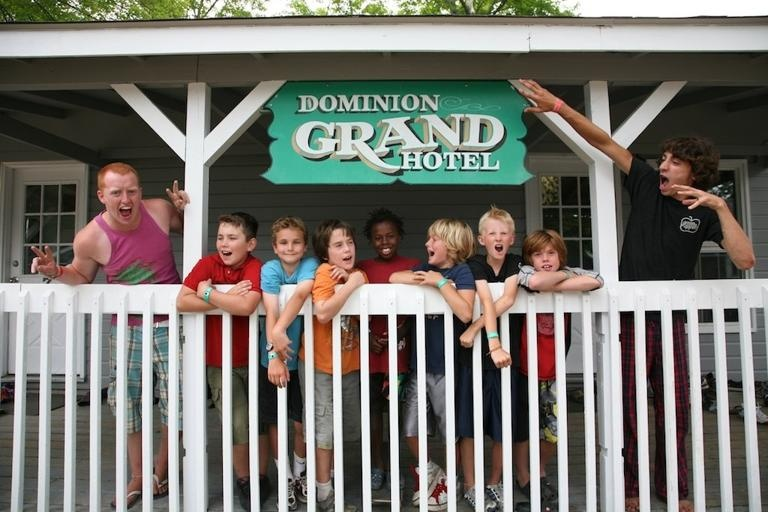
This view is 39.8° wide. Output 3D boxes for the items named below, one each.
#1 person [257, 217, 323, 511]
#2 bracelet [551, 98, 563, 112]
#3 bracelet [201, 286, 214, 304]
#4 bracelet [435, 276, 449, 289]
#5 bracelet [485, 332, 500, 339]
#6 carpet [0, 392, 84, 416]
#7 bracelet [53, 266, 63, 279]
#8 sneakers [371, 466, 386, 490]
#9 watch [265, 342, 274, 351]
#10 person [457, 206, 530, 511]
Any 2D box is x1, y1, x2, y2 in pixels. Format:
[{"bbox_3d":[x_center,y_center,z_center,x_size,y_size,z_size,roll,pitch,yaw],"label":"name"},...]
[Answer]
[{"bbox_3d":[-0.913,1.000,9.938,0.526,2.730,0.586,2,-5,-6],"label":"person"},{"bbox_3d":[1.642,-1.436,10.053,0.092,0.111,0.045,0,-9,23],"label":"bracelet"},{"bbox_3d":[-1.633,0.344,9.801,0.098,0.142,0.137,8,0,-6],"label":"bracelet"},{"bbox_3d":[0.529,0.234,9.727,0.096,0.066,0.095,32,4,32],"label":"bracelet"},{"bbox_3d":[1.001,0.715,9.696,0.126,0.056,0.070,3,-5,-28],"label":"bracelet"},{"bbox_3d":[-3.558,1.532,11.006,0.591,0.028,0.517,0,2,27],"label":"carpet"},{"bbox_3d":[-2.996,0.147,9.750,0.104,0.096,0.101,5,-7,-35],"label":"bracelet"},{"bbox_3d":[-0.041,2.123,10.200,0.181,0.191,0.098,5,-6,-38],"label":"sneakers"},{"bbox_3d":[-1.053,0.825,9.779,0.059,0.078,0.032,-2,0,17],"label":"watch"},{"bbox_3d":[0.977,0.957,9.920,0.591,2.812,0.567,1,-5,3],"label":"person"}]
